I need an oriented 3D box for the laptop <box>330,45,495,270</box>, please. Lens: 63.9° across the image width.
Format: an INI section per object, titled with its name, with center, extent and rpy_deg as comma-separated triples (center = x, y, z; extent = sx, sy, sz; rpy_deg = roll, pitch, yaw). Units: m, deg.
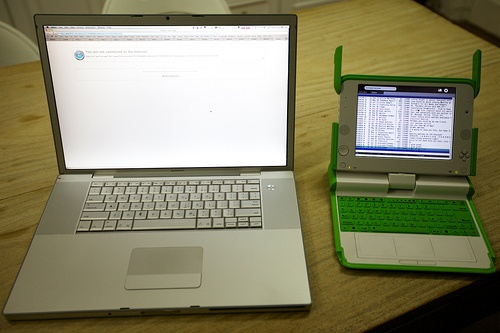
[laptop]
center = 0.380, -0.023, 0.953
extent = 0.347, 0.512, 0.230
rpy_deg = 2, -35, -3
